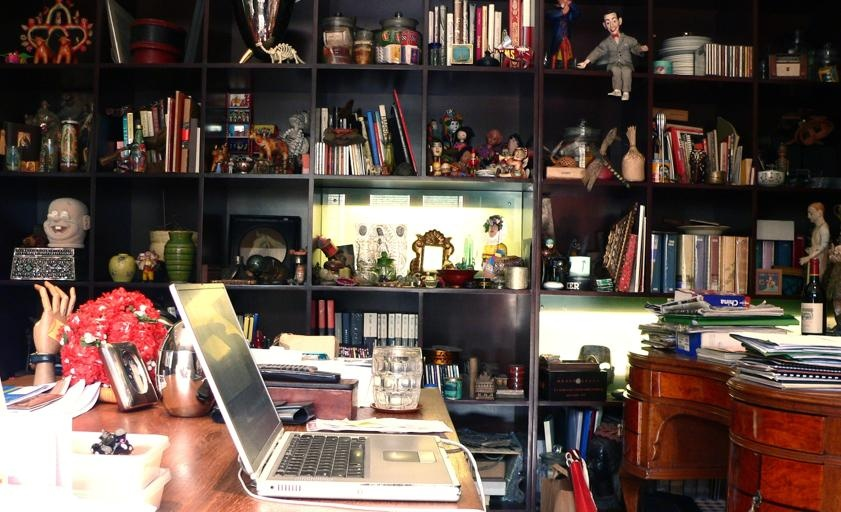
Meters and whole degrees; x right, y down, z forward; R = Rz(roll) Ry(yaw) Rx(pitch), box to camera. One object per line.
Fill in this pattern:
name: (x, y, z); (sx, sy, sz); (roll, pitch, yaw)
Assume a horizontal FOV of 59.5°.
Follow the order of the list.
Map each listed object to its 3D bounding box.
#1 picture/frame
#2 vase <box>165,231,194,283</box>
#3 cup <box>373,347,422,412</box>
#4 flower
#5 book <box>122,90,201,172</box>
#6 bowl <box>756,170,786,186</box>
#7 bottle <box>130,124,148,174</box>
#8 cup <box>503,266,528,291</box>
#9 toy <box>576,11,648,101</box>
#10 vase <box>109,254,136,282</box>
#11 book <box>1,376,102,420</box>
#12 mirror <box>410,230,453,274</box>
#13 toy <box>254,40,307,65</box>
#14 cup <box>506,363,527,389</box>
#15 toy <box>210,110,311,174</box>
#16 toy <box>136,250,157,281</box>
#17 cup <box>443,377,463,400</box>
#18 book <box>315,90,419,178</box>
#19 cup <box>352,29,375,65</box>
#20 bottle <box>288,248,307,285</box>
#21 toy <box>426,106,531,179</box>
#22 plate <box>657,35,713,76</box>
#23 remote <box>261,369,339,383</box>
picture/frame: (-1.172, 0.477, 2.959); (0.063, 0.247, 0.263); (-19, -3, -1)
vase: (-1.490, -0.003, 4.544); (0.187, 0.307, 0.150); (-2, 3, -18)
cup: (-0.100, 0.502, 3.004); (0.235, 0.252, 0.260); (0, -5, -2)
flower: (-1.339, 0.396, 3.098); (0.444, 0.459, 0.259); (21, -34, -29)
book: (-1.629, -0.765, 4.571); (0.490, 0.505, 0.329); (-2, 3, -18)
bowl: (2.142, -0.474, 4.542); (0.115, 0.060, 0.120); (0, -3, 0)
bottle: (-1.755, -0.663, 4.556); (0.098, 0.301, 0.186); (-2, 3, -26)
cup: (0.587, 0.136, 4.518); (0.147, 0.148, 0.136); (0, -3, 0)
toy: (1.180, -1.232, 4.557); (0.429, 0.516, 0.152); (0, 3, 6)
vase: (-1.821, 0.075, 4.537); (0.171, 0.183, 0.165); (0, -1, 3)
book: (-1.462, 0.559, 2.948); (0.260, 0.089, 0.250); (-1, 3, -19)
mirror: (0.067, -0.017, 4.772); (0.298, 0.300, 0.019); (1, -1, -7)
toy: (-0.871, -1.236, 4.494); (0.266, 0.131, 0.186); (-1, 3, -13)
cup: (0.600, 0.753, 4.617); (0.122, 0.149, 0.155); (0, 3, 7)
toy: (-1.024, -0.708, 4.652); (0.616, 0.389, 0.410); (-1, 3, -9)
toy: (-1.707, 0.061, 4.586); (0.116, 0.178, 0.236); (-3, 4, -33)
cup: (0.196, 0.810, 4.526); (0.127, 0.126, 0.123); (0, -1, 0)
book: (-0.349, -0.784, 4.666); (0.628, 0.572, 0.427); (-1, 3, -1)
cup: (-0.356, -1.273, 4.504); (0.124, 0.232, 0.121); (-1, 3, 0)
bottle: (-0.775, 0.062, 4.606); (0.101, 0.202, 0.264); (-1, 3, -10)
toy: (0.343, -0.645, 4.633); (0.851, 0.407, 0.559); (1, -2, 1)
plate: (1.652, -1.257, 4.579); (0.285, 0.189, 0.275); (0, -2, 1)
remote: (-0.486, 0.485, 2.954); (0.212, 0.033, 0.104); (0, -4, -1)
